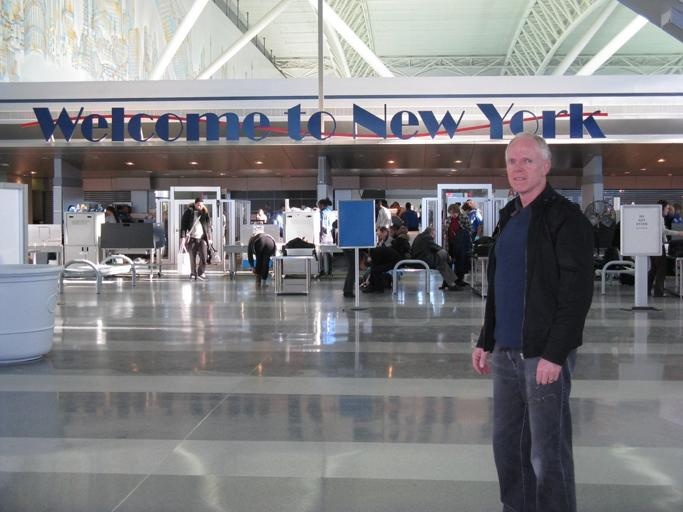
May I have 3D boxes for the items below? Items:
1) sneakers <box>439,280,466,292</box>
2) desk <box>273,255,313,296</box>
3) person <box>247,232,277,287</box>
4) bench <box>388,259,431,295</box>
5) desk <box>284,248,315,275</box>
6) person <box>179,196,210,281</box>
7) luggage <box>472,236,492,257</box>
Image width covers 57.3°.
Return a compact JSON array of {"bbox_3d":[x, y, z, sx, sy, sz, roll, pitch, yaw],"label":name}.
[{"bbox_3d":[2.360,0.637,13.389,0.602,0.261,0.201,-4,3,-3],"label":"sneakers"},{"bbox_3d":[-1.087,0.445,14.096,0.869,0.837,0.874,0,-3,-1],"label":"desk"},{"bbox_3d":[-1.864,0.068,14.660,0.571,1.158,0.932,-1,6,-11],"label":"person"},{"bbox_3d":[1.535,0.312,13.641,0.733,0.784,1.049,0,13,7],"label":"bench"},{"bbox_3d":[-1.034,0.125,15.360,0.855,0.771,0.625,-1,-2,3],"label":"desk"},{"bbox_3d":[-3.743,-0.414,16.104,0.680,2.106,1.111,-2,6,-15],"label":"person"},{"bbox_3d":[2.752,-0.182,12.319,0.477,0.432,0.488,0,0,13],"label":"luggage"}]
